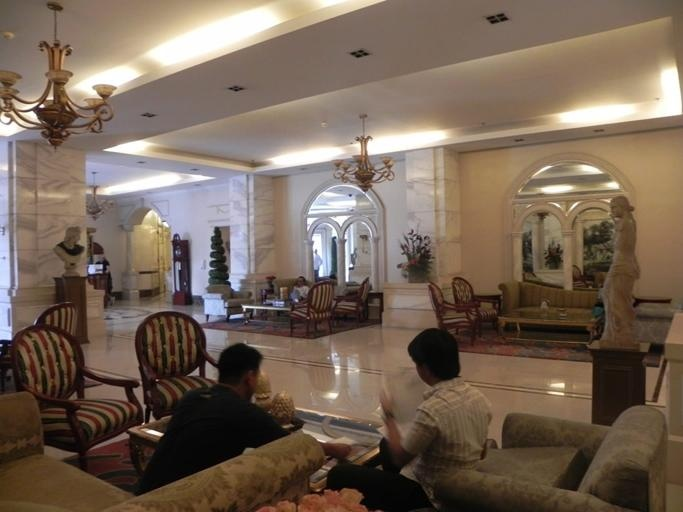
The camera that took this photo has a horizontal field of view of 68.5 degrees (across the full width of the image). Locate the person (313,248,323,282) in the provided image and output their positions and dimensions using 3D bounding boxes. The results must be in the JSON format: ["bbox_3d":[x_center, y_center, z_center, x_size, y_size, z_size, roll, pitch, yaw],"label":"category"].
[{"bbox_3d":[-0.644,0.234,13.676,0.209,0.835,0.128,-1,-1,-4],"label":"person"}]

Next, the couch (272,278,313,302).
[{"bbox_3d":[-1.178,0.797,12.527,0.736,0.764,0.711,-2,-13,31],"label":"couch"}]

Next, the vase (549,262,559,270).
[{"bbox_3d":[4.535,0.196,10.692,0.173,0.114,0.162,0,-5,-4],"label":"vase"}]

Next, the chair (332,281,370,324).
[{"bbox_3d":[0.223,0.968,11.630,0.811,1.062,0.727,1,7,8],"label":"chair"}]

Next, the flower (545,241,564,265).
[{"bbox_3d":[4.521,-0.023,10.682,0.362,0.460,0.093,-1,-1,1],"label":"flower"}]

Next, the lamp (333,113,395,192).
[{"bbox_3d":[0.421,-2.017,9.478,1.127,1.572,1.226,-1,-4,-3],"label":"lamp"}]

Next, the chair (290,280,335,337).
[{"bbox_3d":[-0.629,1.052,10.550,0.848,1.178,0.815,2,6,-20],"label":"chair"}]

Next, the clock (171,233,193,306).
[{"bbox_3d":[-5.190,0.519,16.284,0.701,2.096,0.505,-1,-1,2],"label":"clock"}]

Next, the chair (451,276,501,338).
[{"bbox_3d":[2.653,0.993,9.946,0.813,1.095,0.769,-7,-1,-36],"label":"chair"}]

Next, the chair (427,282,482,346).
[{"bbox_3d":[2.320,1.162,9.777,1.182,1.603,1.130,-2,2,0],"label":"chair"}]

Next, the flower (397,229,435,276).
[{"bbox_3d":[1.613,0.052,10.812,0.899,1.082,0.780,4,-18,-19],"label":"flower"}]

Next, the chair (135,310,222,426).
[{"bbox_3d":[-1.579,1.181,4.887,0.736,1.196,0.687,-4,6,-39],"label":"chair"}]

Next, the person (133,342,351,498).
[{"bbox_3d":[-0.756,0.905,3.418,0.984,1.252,0.920,8,-3,-39],"label":"person"}]
